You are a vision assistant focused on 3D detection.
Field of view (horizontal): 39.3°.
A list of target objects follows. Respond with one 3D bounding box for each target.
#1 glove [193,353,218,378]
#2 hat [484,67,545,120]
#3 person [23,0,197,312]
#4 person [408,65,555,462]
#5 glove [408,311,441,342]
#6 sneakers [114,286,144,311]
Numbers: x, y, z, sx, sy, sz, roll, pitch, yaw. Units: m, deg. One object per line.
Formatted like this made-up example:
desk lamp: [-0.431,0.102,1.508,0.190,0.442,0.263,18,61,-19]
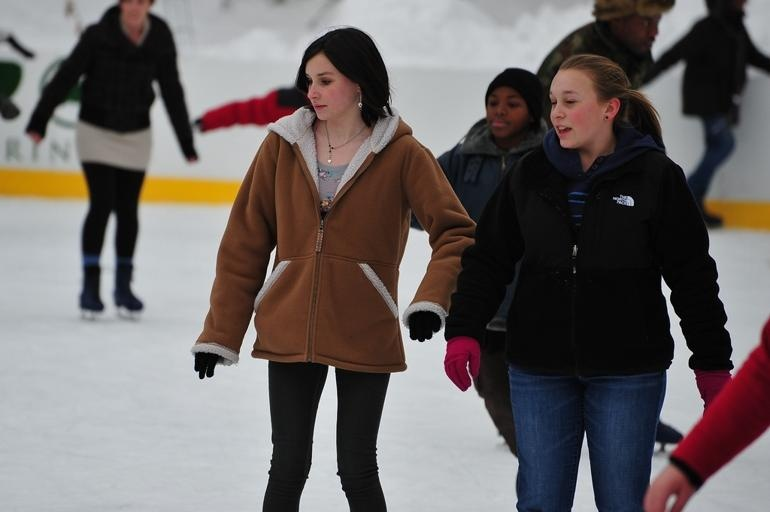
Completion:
glove: [-0.692,0.432,4.232,0.083,0.105,0.031,-1,1,5]
hat: [0.568,-0.765,4.911,0.222,0.159,0.214,-8,-6,-2]
person: [-1.510,-0.529,5.972,0.868,1.777,0.271,1,9,-10]
person: [0.549,0.200,5.027,0.943,1.970,0.765,-2,24,1]
glove: [0.155,0.274,4.141,0.129,0.120,0.087,3,9,2]
sneakers: [-1.479,0.261,6.221,0.172,0.156,0.075,0,12,-10]
